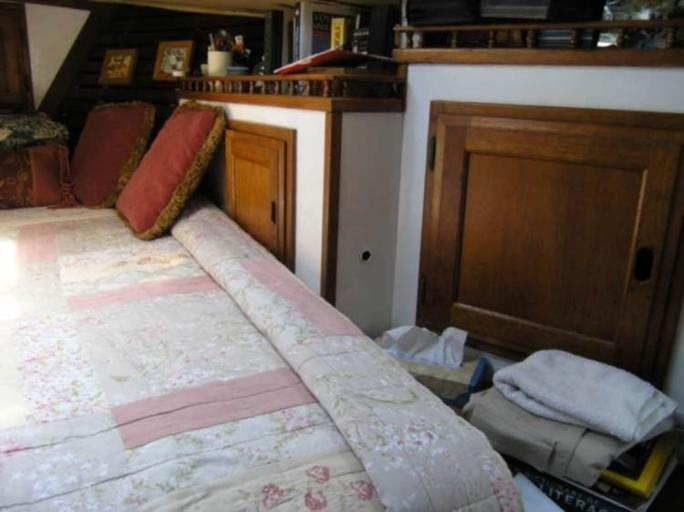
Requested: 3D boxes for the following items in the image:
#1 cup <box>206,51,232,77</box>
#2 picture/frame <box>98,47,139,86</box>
[{"bbox_3d":[-0.618,-0.992,2.444,0.115,0.124,0.268,-13,25,-36],"label":"cup"},{"bbox_3d":[-1.423,-1.202,3.016,0.228,0.217,0.112,8,22,14],"label":"picture/frame"}]
